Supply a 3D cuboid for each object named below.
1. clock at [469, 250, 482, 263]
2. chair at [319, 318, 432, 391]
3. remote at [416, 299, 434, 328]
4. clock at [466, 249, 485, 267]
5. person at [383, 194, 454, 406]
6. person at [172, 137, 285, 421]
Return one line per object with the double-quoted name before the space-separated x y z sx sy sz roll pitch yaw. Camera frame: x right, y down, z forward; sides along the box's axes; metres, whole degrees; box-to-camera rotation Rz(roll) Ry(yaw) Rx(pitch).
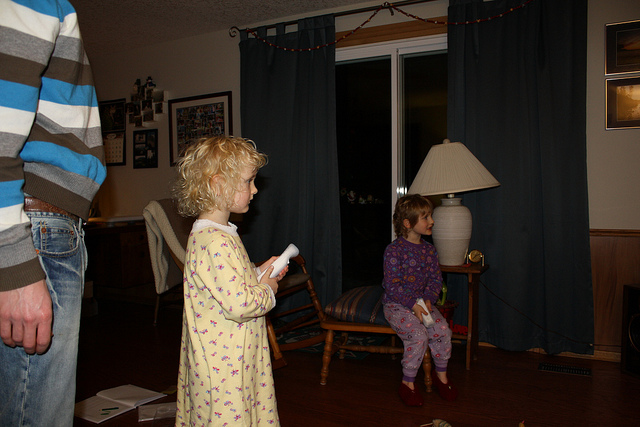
"clock" 1.172 0.320 3.742 0.087 0.098 0.122 3 10 23
"chair" 0.498 1.092 3.842 0.766 0.563 1.138 6 -15 15
"remote" 0.672 0.650 3.171 0.124 0.180 0.144 5 11 30
"clock" 1.168 0.340 3.749 0.117 0.131 0.026 2 11 16
"person" 0.647 0.542 3.321 0.446 1.262 0.599 0 9 6
"person" -0.464 0.337 2.447 0.543 1.402 0.482 -2 9 -6
